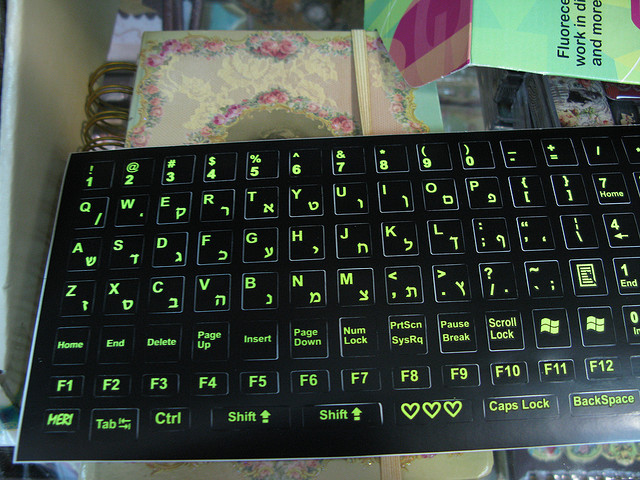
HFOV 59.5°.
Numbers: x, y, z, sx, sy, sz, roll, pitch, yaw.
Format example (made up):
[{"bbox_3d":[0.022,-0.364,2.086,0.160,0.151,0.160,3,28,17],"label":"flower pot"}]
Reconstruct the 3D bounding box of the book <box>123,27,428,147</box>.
[{"bbox_3d":[-0.064,-0.307,1.176,0.600,0.262,0.038,1,40,-3],"label":"book"}]
